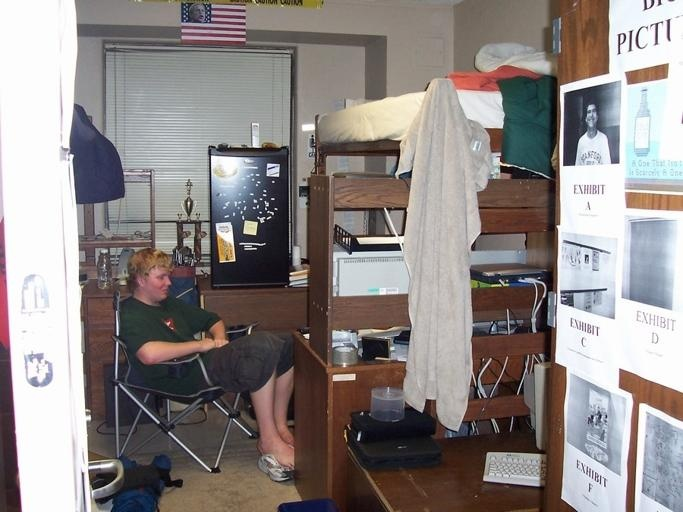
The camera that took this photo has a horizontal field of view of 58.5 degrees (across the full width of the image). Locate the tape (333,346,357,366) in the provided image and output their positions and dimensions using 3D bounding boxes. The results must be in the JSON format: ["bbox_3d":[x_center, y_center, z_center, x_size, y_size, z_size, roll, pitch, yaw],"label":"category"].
[{"bbox_3d":[0.014,0.446,2.755,0.083,0.043,0.086,1,3,-11],"label":"tape"}]

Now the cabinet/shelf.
[{"bbox_3d":[0.333,0.474,2.897,1.073,1.701,0.650,1,11,-4],"label":"cabinet/shelf"}]

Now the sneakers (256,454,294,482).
[{"bbox_3d":[-0.378,1.187,3.466,0.206,0.093,0.097,10,17,36],"label":"sneakers"}]

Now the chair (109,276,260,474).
[{"bbox_3d":[-0.888,0.683,3.504,0.811,0.968,0.856,-1,4,1],"label":"chair"}]

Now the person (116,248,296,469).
[{"bbox_3d":[-0.776,0.535,4.138,1.222,1.597,0.990,-6,1,-3],"label":"person"}]

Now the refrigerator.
[{"bbox_3d":[-0.645,-0.324,5.018,0.835,1.560,0.862,0,2,-7],"label":"refrigerator"}]
